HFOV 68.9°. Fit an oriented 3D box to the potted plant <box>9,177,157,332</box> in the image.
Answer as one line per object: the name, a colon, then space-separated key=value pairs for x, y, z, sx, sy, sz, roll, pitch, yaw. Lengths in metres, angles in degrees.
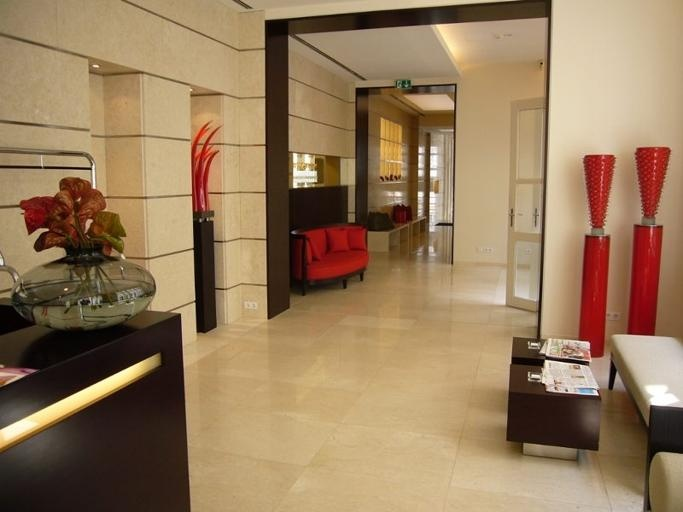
potted plant: x=-1.132 y=-0.042 z=2.457 sx=0.627 sy=0.724 sz=0.641 roll=-2 pitch=12 yaw=-20

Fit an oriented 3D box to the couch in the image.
couch: x=-0.185 y=0.035 z=8.539 sx=0.891 sy=0.966 sz=1.748 roll=4 pitch=11 yaw=22
